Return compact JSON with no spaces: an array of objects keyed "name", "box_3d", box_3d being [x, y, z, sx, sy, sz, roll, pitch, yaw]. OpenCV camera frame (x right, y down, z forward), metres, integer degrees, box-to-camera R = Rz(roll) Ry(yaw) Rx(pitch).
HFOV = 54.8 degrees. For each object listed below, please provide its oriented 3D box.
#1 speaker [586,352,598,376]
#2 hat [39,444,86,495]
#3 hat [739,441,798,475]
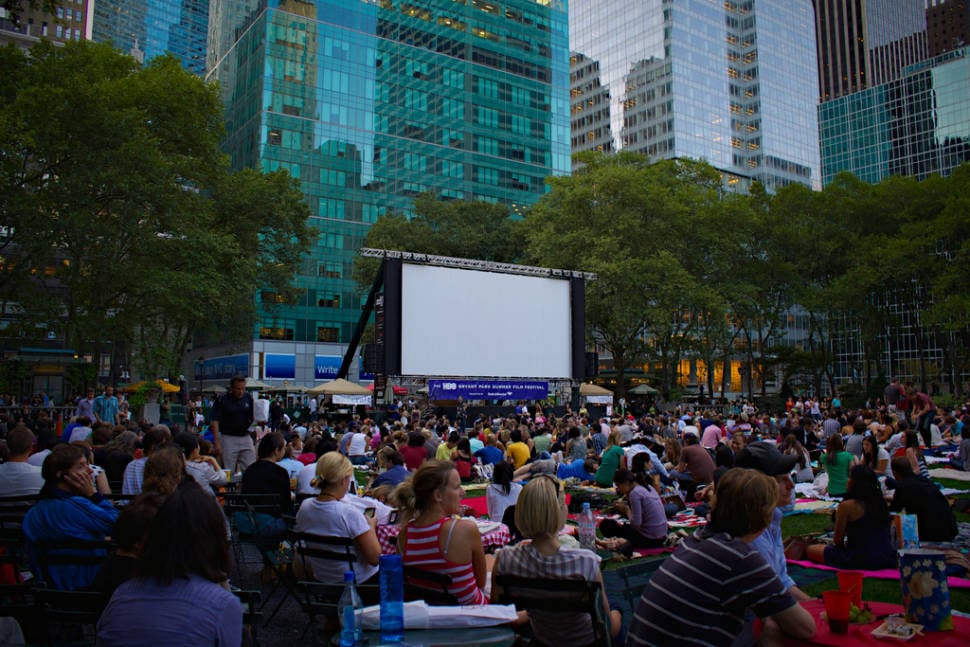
[{"name":"speaker","box_3d":[5.721,2.205,49.903,0.525,1.267,0.699,4,-7,-10]},{"name":"hat","box_3d":[-8.852,3.101,19.759,0.930,1.155,0.823,4,-3,-28]},{"name":"hat","box_3d":[5.940,2.875,19.871,1.088,0.539,0.745,-7,10,-5]}]
